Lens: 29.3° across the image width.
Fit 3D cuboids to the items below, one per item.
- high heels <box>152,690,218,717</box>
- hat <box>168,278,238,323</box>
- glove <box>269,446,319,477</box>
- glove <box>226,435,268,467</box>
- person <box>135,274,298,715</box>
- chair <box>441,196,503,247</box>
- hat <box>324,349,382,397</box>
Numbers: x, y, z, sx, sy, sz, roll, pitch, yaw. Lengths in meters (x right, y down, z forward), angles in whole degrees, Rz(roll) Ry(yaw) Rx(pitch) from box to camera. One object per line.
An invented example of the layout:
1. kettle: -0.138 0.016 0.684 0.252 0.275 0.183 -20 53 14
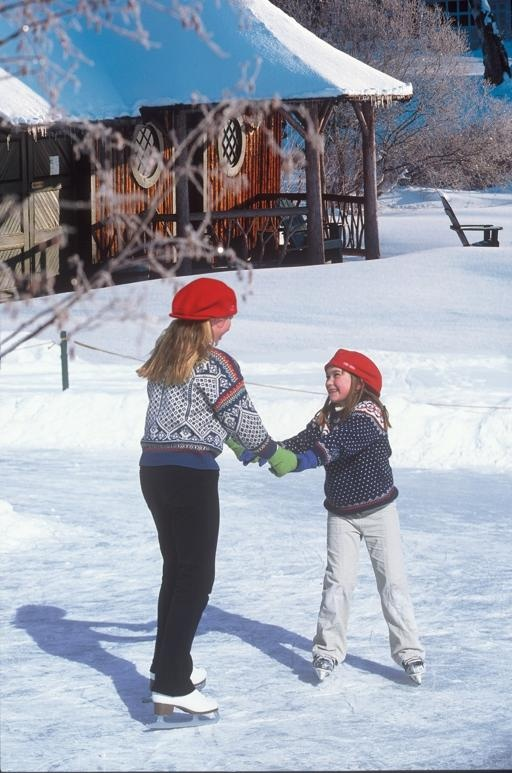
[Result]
1. high heels: -0.233 1.066 3.343 0.242 0.101 0.088 0 6 -10
2. hat: -0.176 -0.282 3.233 0.140 0.084 0.184 5 7 31
3. glove: 0.137 0.272 3.555 0.170 0.067 0.099 -8 -3 -39
4. glove: -0.037 0.212 3.579 0.119 0.032 0.118 37 -25 -11
5. person: -0.213 0.397 3.329 0.384 1.474 0.505 10 18 36
6. chair: 4.820 -3.664 21.825 1.382 1.377 0.909 -1 10 7
7. hat: 0.408 -0.069 3.916 0.221 0.122 0.154 29 -3 -23
